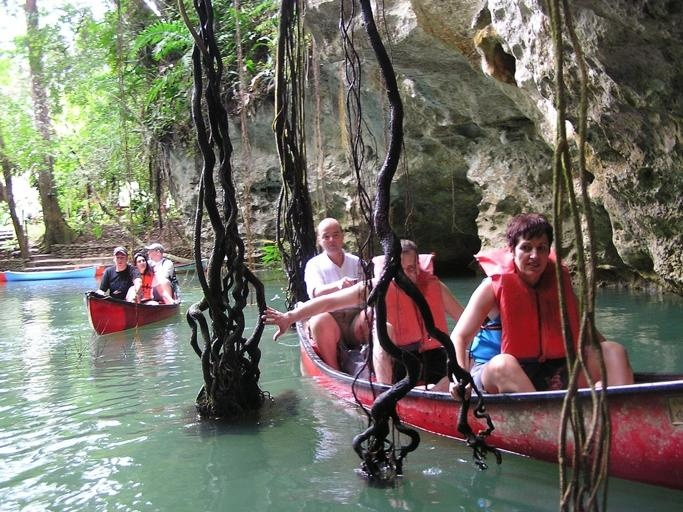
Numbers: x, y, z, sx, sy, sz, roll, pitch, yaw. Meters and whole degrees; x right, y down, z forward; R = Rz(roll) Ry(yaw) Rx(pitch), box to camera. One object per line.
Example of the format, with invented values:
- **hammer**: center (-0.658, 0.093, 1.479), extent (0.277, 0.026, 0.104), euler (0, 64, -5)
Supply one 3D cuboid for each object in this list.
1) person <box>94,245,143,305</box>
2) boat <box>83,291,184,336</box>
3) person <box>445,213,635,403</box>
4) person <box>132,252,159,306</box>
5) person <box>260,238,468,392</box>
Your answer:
- **person**: center (-3.503, 0.301, 9.035), extent (0.684, 1.028, 0.770), euler (-8, -11, 8)
- **boat**: center (-3.143, 0.848, 8.682), extent (0.594, 0.485, 1.703), euler (-1, -6, 27)
- **person**: center (1.313, 0.465, 3.754), extent (1.138, 1.599, 1.103), euler (-4, -3, 19)
- **person**: center (-3.293, 0.409, 9.423), extent (0.498, 0.870, 0.599), euler (-12, 11, -27)
- **person**: center (0.099, 0.537, 4.917), extent (1.474, 0.788, 0.865), euler (1, -17, -10)
